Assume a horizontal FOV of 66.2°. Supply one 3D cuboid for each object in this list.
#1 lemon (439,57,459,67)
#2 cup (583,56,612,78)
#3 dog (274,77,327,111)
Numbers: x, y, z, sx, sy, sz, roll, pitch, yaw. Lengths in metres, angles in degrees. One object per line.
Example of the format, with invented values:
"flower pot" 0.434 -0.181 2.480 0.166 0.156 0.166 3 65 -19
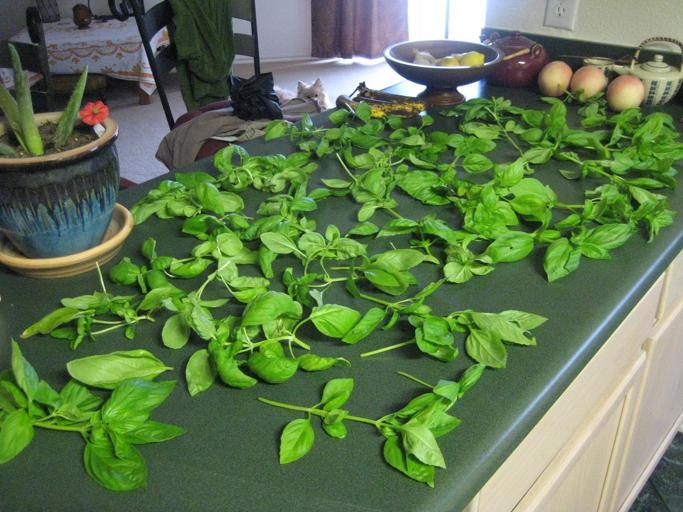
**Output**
"lemon" 0.250 -0.453 1.204 0.046 0.020 0.042 5 24 7
"cup" 0.626 -0.470 1.290 0.076 0.041 0.050 17 49 21
"dog" -0.197 -1.100 3.558 0.226 0.205 0.308 -9 24 -4
